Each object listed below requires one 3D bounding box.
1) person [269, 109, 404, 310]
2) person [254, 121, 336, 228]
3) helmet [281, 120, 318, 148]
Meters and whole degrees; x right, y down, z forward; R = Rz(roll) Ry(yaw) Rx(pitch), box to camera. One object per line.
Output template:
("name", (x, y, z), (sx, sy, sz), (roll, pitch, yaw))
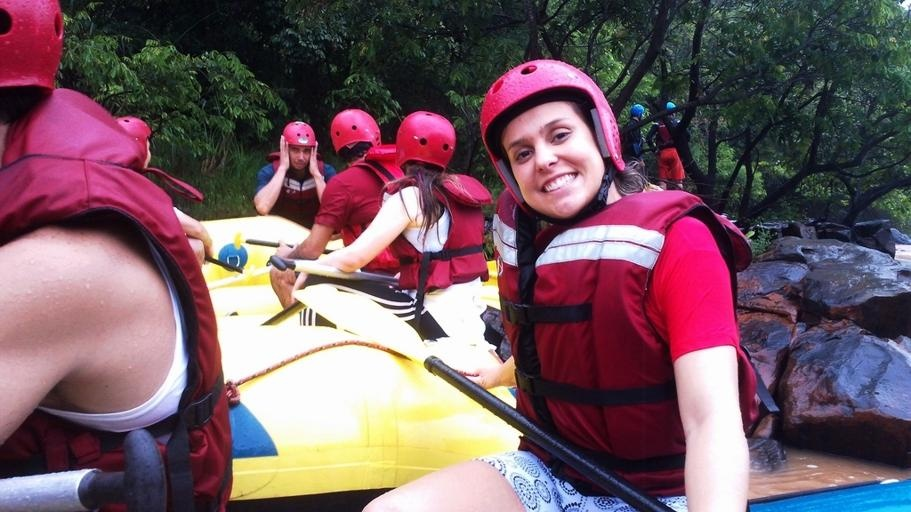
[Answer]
("person", (-1.018, -0.318, 6.944), (1.232, 2.085, 1.118), (11, 18, 18))
("person", (-1.890, -0.772, 8.813), (1.039, 1.535, 0.904), (-3, 11, -27))
("helmet", (-1.792, -1.354, 8.595), (0.289, 0.321, 0.383), (4, 23, -23))
